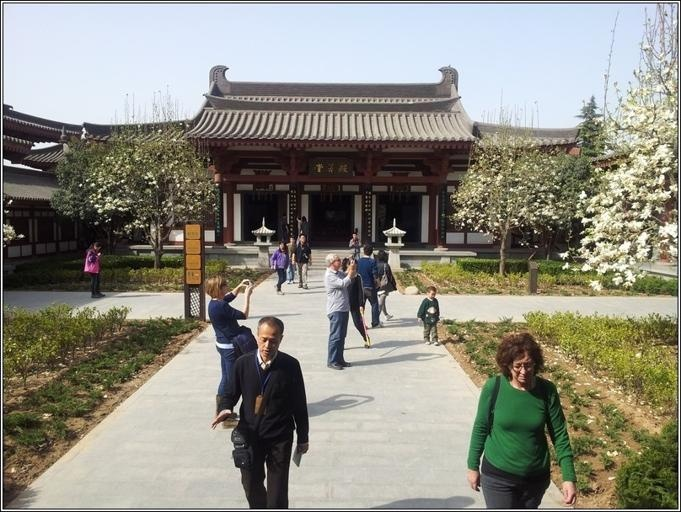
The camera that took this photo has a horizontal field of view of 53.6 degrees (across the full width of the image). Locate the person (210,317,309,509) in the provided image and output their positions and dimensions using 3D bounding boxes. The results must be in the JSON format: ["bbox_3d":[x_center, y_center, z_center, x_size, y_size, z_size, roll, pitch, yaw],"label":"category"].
[{"bbox_3d":[-0.994,2.019,8.706,1.111,2.450,0.410,0,2,-10],"label":"person"}]

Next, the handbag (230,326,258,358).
[{"bbox_3d":[-1.558,1.357,10.555,0.414,0.566,0.301,-6,-12,-35],"label":"handbag"}]

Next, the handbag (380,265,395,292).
[{"bbox_3d":[1.208,0.492,16.721,0.472,0.873,0.705,0,4,5],"label":"handbag"}]

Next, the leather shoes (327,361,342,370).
[{"bbox_3d":[-0.129,2.167,13.314,0.201,0.087,0.128,4,0,23],"label":"leather shoes"}]

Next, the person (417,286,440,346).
[{"bbox_3d":[1.988,1.288,15.194,0.451,1.343,1.343,1,3,8],"label":"person"}]

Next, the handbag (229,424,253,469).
[{"bbox_3d":[-1.304,2.437,8.609,0.296,0.552,0.166,3,3,41],"label":"handbag"}]

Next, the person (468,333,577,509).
[{"bbox_3d":[2.251,2.060,8.418,1.266,2.174,0.399,1,3,12],"label":"person"}]
